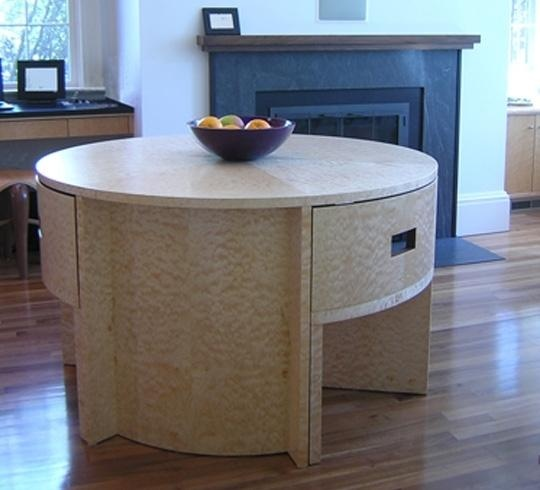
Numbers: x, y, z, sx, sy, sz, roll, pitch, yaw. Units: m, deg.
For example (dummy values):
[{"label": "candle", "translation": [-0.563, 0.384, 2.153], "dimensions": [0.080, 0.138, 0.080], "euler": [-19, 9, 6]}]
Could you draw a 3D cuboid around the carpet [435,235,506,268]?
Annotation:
[{"label": "carpet", "translation": [1.201, 0.040, 3.799], "dimensions": [0.510, 0.078, 0.592], "euler": [-2, 11, -11]}]

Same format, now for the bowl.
[{"label": "bowl", "translation": [-0.092, -0.340, 1.885], "dimensions": [0.335, 0.122, 0.122], "euler": [0, 10, 0]}]

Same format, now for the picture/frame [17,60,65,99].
[{"label": "picture/frame", "translation": [-1.583, -1.170, 3.908], "dimensions": [0.326, 0.290, 0.178], "euler": [-12, 47, -34]}]

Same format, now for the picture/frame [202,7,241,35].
[{"label": "picture/frame", "translation": [-0.295, -1.303, 3.333], "dimensions": [0.169, 0.128, 0.019], "euler": [-5, 7, -15]}]
